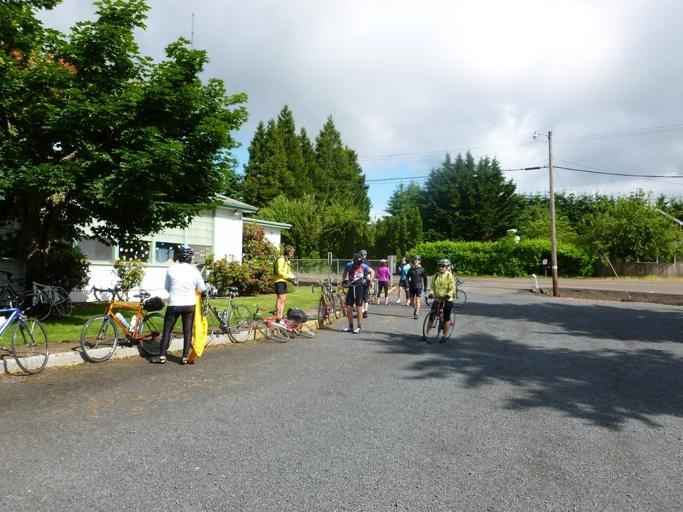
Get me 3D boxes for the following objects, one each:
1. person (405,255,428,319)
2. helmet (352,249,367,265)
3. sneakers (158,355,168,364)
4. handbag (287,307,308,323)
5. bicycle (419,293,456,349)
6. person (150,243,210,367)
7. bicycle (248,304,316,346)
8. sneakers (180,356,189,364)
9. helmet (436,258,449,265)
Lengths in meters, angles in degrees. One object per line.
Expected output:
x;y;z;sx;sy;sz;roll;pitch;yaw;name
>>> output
2.453;0.994;17.651;0.726;2.079;0.717;1;2;-5;person
0.491;0.043;13.439;0.345;0.485;0.449;7;3;-1;helmet
-3.241;1.854;9.667;0.096;0.122;0.171;2;6;3;sneakers
-1.071;1.459;12.915;0.403;0.434;0.312;-13;29;-25;handbag
2.265;1.416;12.417;0.529;1.055;1.242;4;6;31;bicycle
-2.961;0.876;9.810;0.826;2.129;0.627;1;5;-6;person
-1.364;1.634;12.900;0.841;0.758;1.425;10;3;33;bicycle
-2.842;1.864;9.650;0.129;0.143;0.118;0;5;-15;sneakers
2.339;0.127;12.266;0.229;0.136;0.350;-1;-1;26;helmet
